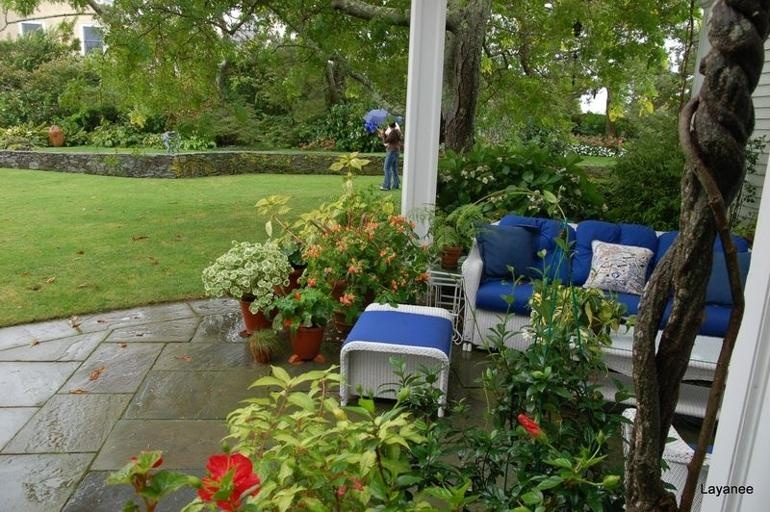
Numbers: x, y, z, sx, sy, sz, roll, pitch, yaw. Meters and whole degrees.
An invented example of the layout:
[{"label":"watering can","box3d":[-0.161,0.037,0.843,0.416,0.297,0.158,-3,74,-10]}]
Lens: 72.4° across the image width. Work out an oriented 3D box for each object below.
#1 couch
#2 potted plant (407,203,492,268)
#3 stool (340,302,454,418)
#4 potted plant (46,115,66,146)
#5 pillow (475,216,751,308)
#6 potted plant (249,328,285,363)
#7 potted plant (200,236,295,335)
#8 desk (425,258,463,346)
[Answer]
[{"label":"couch","box3d":[1.551,0.300,4.479,1.751,0.936,1.947,4,8,8]},{"label":"potted plant","box3d":[0.638,-0.225,5.369,0.728,0.501,0.737,-1,4,-26]},{"label":"stool","box3d":[0.069,0.722,3.812,0.642,0.459,0.827,4,16,9]},{"label":"potted plant","box3d":[-10.172,-3.624,15.720,0.639,0.941,0.589,-3,2,-24]},{"label":"pillow","box3d":[1.480,0.156,3.994,2.147,0.831,0.817,4,11,2]},{"label":"potted plant","box3d":[-1.019,0.714,4.427,0.279,0.266,0.275,-12,20,-43]},{"label":"potted plant","box3d":[-1.117,0.267,4.765,0.789,0.784,0.828,2,9,16]},{"label":"desk","box3d":[0.576,0.424,5.184,0.357,0.730,0.376,3,28,6]}]
